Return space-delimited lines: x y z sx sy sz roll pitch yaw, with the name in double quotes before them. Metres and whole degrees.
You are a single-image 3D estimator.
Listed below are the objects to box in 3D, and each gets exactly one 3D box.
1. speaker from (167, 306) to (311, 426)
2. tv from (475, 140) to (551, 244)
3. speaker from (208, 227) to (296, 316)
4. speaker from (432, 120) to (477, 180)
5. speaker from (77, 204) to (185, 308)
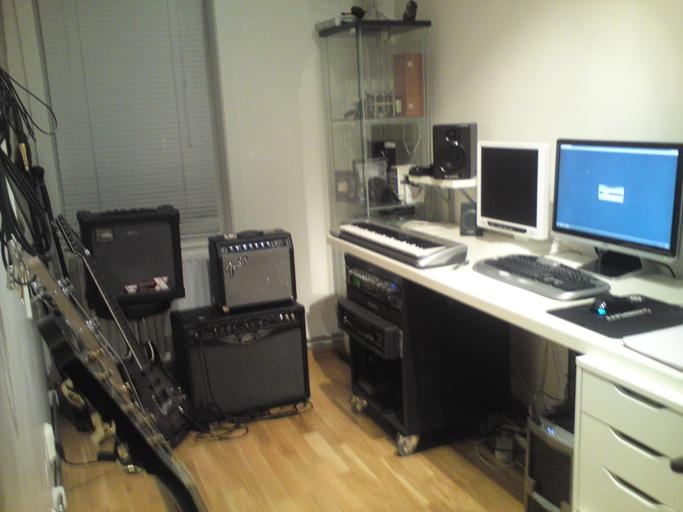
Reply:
"speaker" -0.591 0.518 3.536 0.940 0.929 0.569 -6 10 -23
"tv" 0.821 -0.315 2.721 0.050 0.490 0.452 -6 9 -32
"speaker" -0.528 0.035 3.500 0.455 0.474 0.376 -5 23 -7
"speaker" 0.600 -0.550 3.135 0.209 0.304 0.207 -1 -7 13
"speaker" -1.264 0.108 3.472 0.556 0.647 0.379 -4 -28 -23
